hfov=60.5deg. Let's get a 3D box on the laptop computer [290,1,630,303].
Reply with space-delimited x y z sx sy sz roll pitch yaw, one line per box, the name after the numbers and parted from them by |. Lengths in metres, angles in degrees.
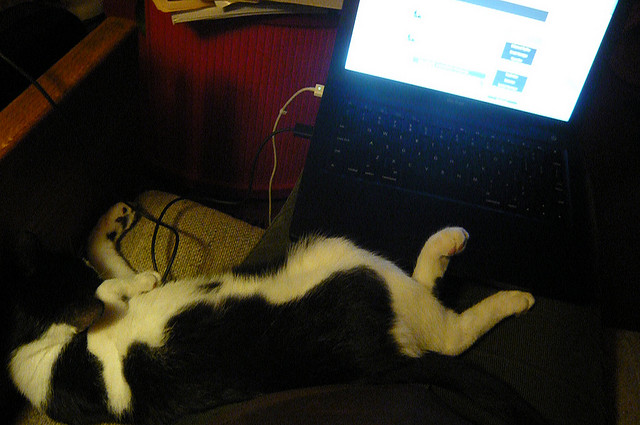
0.216 -0.031 0.997 0.517 0.406 0.548 10 63 6 | laptop computer
